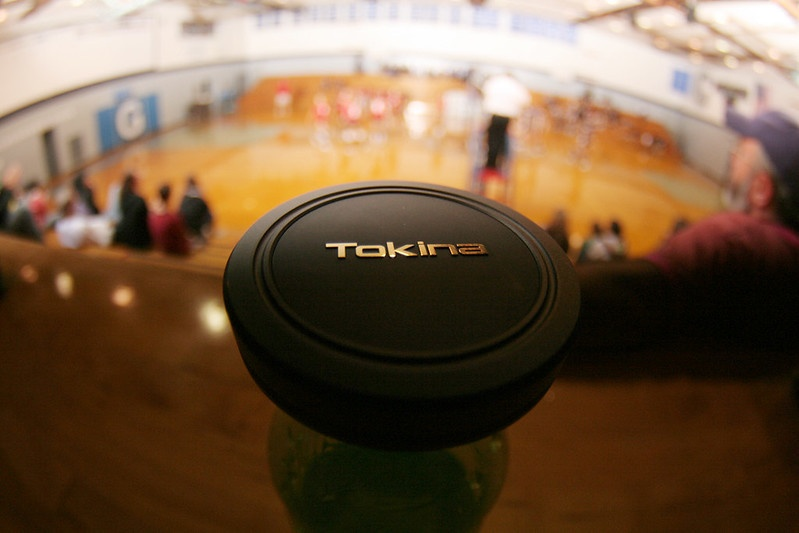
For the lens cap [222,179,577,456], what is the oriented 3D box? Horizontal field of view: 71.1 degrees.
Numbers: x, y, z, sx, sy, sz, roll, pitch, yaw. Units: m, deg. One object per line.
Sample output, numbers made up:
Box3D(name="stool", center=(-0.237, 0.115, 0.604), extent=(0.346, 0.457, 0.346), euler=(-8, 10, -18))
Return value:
Box3D(name="lens cap", center=(0.015, 0.070, 1.199), extent=(0.713, 0.382, 0.534), euler=(4, 25, 10))
